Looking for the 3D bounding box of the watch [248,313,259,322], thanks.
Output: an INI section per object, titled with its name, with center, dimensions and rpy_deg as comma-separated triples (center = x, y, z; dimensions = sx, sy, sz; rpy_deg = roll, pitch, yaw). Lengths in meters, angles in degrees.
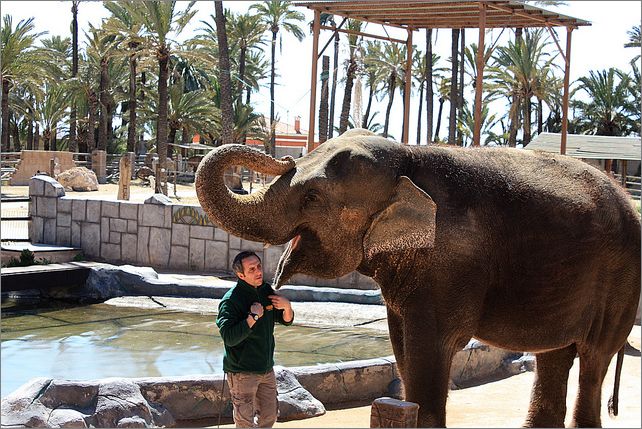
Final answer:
[watch]
center = -0.642, 0.962, 6.755
dimensions = 0.099, 0.059, 0.037
rpy_deg = 34, 13, 17
